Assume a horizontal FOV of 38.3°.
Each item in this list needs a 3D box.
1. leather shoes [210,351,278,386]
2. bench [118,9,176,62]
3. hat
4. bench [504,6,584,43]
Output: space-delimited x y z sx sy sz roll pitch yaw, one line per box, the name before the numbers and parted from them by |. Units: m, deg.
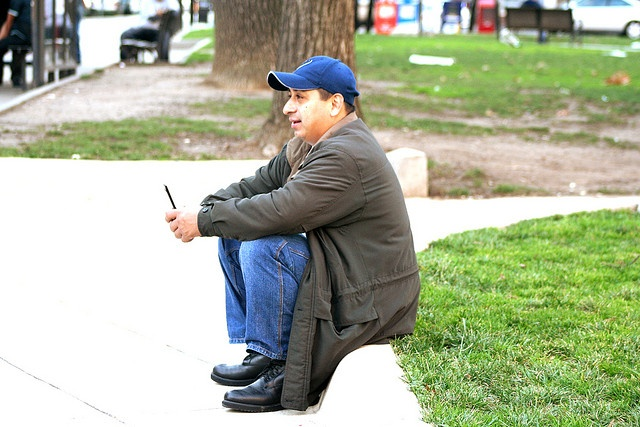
leather shoes | -0.632 1.311 7.691 0.561 0.236 0.234 3 0 -1
bench | -2.034 -2.172 11.056 0.712 0.740 0.500 3 6 3
hat | -0.050 -1.126 7.734 0.670 0.325 0.402 10 0 -7
bench | 3.926 -3.399 16.350 0.675 0.514 1.278 -5 12 -28
